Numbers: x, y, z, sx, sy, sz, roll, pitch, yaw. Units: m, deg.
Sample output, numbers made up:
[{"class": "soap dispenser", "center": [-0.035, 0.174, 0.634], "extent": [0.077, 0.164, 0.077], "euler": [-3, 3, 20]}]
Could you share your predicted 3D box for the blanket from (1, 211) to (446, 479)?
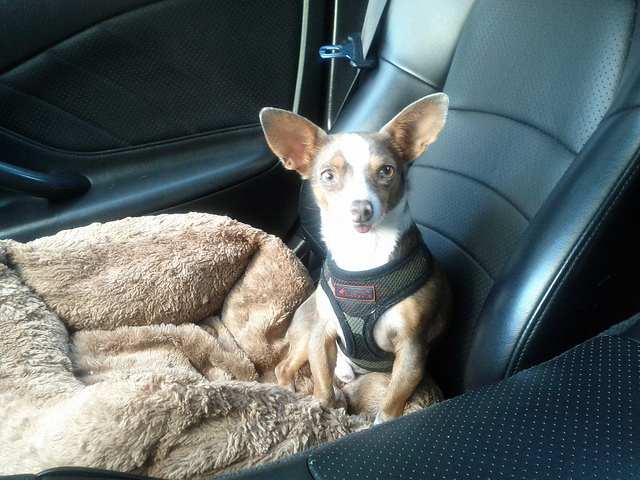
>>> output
[{"class": "blanket", "center": [-0.508, 0.349, 1.808], "extent": [1.008, 0.355, 1.038], "euler": [-7, 49, -38]}]

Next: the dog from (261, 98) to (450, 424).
[{"class": "dog", "center": [0.138, 0.141, 1.738], "extent": [0.610, 0.927, 0.748], "euler": [-3, 45, 2]}]
